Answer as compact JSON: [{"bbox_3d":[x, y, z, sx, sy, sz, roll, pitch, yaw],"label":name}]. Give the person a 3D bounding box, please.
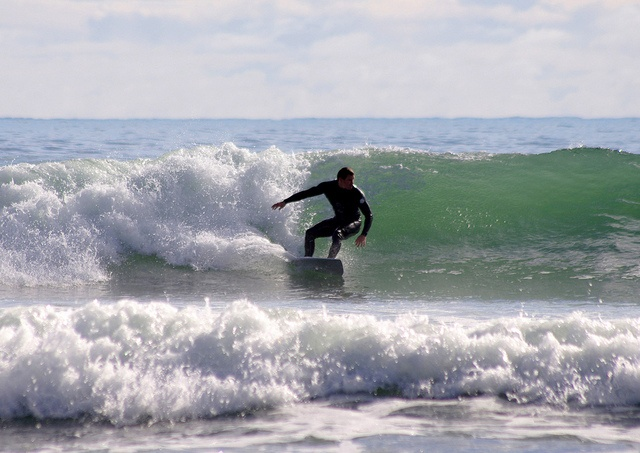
[{"bbox_3d":[-0.026,-0.151,17.979,1.652,1.497,0.916,16,8,-3],"label":"person"}]
